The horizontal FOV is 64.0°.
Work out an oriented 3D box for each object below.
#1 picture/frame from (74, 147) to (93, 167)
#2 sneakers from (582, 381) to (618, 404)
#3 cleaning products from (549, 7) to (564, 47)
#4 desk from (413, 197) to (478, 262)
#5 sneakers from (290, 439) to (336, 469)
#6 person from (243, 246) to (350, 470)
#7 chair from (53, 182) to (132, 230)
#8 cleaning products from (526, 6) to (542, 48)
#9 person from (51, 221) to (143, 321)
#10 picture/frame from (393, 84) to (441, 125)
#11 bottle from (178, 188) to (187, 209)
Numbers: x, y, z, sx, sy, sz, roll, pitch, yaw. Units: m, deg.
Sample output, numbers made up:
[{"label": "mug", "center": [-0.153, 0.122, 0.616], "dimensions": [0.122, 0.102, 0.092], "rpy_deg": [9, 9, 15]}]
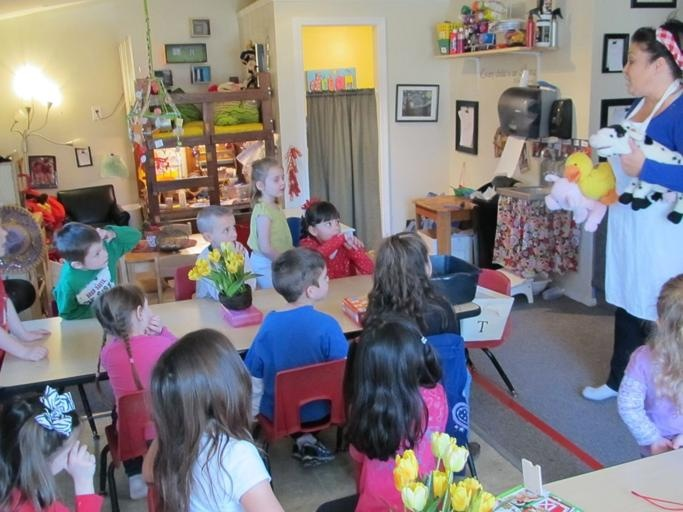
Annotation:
[{"label": "picture/frame", "center": [-3.261, -1.255, 6.894], "dimensions": [0.189, 0.228, 0.015], "rpy_deg": [-19, 24, -31]}, {"label": "sneakers", "center": [1.680, 0.886, 3.552], "dimensions": [0.184, 0.082, 0.103], "rpy_deg": [1, 10, 5]}, {"label": "cleaning products", "center": [1.855, -1.958, 4.690], "dimensions": [0.079, 0.331, 0.138], "rpy_deg": [4, 14, 34]}, {"label": "desk", "center": [0.989, -0.312, 5.516], "dimensions": [0.568, 0.561, 0.579], "rpy_deg": [-3, 13, -12]}, {"label": "sneakers", "center": [-0.166, 1.064, 2.944], "dimensions": [0.170, 0.073, 0.136], "rpy_deg": [2, 8, 16]}, {"label": "person", "center": [-0.222, 0.518, 2.676], "dimensions": [0.533, 1.089, 0.430], "rpy_deg": [-7, 20, -12]}, {"label": "chair", "center": [-3.067, -0.645, 6.740], "dimensions": [0.649, 0.787, 0.544], "rpy_deg": [-7, 8, -33]}, {"label": "cleaning products", "center": [1.652, -1.956, 4.715], "dimensions": [0.107, 0.339, 0.256], "rpy_deg": [0, 12, 20]}, {"label": "person", "center": [-1.434, 0.095, 3.204], "dimensions": [0.298, 0.809, 0.392], "rpy_deg": [5, 39, -5]}, {"label": "picture/frame", "center": [0.843, -1.752, 6.252], "dimensions": [0.431, 0.375, 0.043], "rpy_deg": [-2, 6, -15]}, {"label": "bottle", "center": [-1.848, -0.673, 6.347], "dimensions": [0.100, 0.202, 0.274], "rpy_deg": [-7, 12, -16]}]
